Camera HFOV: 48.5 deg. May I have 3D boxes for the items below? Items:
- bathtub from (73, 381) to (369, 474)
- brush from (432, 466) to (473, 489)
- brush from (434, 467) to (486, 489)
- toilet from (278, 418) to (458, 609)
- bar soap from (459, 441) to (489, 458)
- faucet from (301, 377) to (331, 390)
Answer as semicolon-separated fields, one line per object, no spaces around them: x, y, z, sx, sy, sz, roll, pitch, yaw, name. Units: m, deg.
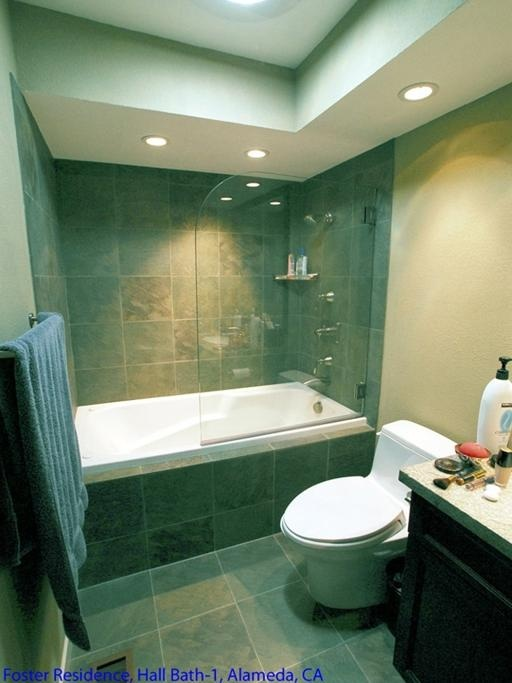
-0.198;0.438;2.867;1.078;0.200;0.640;-2;8;-27;bathtub
0.615;0.420;1.775;0.171;0.028;0.044;-4;3;-38;brush
0.644;0.423;1.798;0.205;0.037;0.058;1;-29;-30;brush
0.441;0.719;2.367;0.749;0.592;0.432;-7;19;-21;toilet
0.708;0.346;1.868;0.058;0.029;0.056;9;1;-3;bar soap
0.320;0.221;3.003;0.112;0.037;0.073;-3;11;-17;faucet
